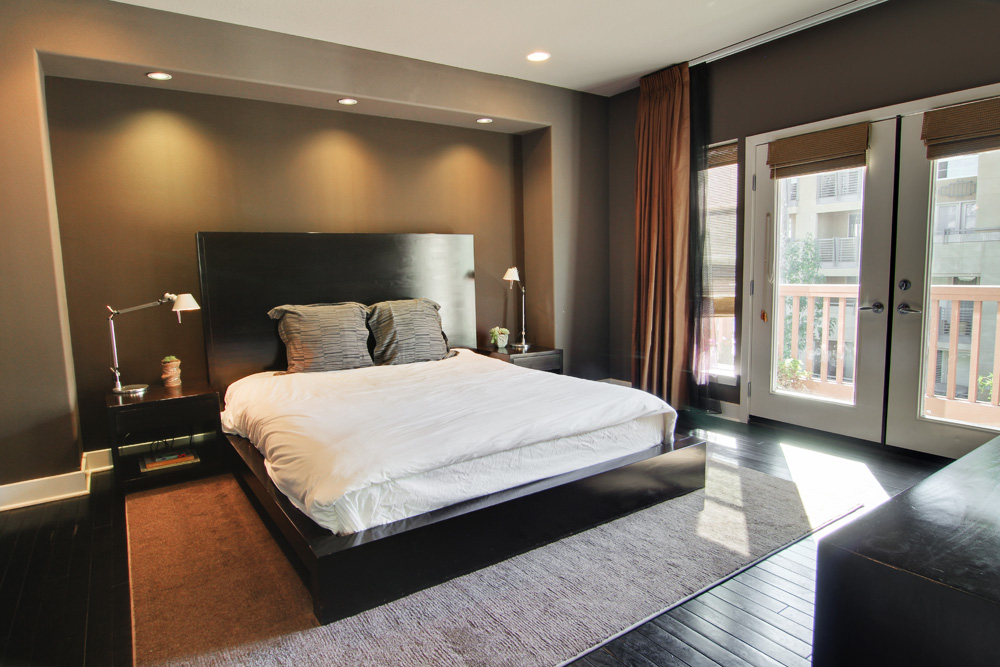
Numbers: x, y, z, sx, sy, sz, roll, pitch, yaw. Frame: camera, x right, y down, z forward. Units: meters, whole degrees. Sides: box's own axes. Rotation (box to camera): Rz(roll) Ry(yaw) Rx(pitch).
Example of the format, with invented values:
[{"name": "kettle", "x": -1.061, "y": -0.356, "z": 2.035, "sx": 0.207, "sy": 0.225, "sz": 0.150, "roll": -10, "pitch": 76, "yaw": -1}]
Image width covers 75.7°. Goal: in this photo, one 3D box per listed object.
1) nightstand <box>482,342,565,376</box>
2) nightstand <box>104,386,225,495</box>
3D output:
[{"name": "nightstand", "x": 0.320, "y": 0.233, "z": 6.084, "sx": 0.354, "sy": 0.280, "sz": 0.471, "roll": -4, "pitch": 6, "yaw": -35}, {"name": "nightstand", "x": -2.581, "y": 0.703, "z": 4.931, "sx": 0.962, "sy": 0.898, "sz": 0.715, "roll": -6, "pitch": 9, "yaw": -37}]
